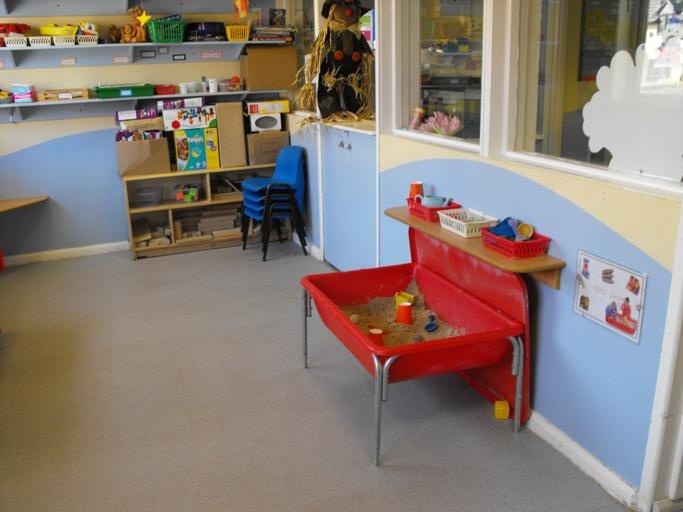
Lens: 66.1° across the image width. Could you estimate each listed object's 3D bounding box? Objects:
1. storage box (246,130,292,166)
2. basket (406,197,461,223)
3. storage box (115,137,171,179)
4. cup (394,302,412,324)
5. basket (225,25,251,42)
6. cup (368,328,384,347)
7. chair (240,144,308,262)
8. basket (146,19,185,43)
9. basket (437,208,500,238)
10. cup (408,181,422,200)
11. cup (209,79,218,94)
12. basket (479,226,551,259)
[{"bbox_3d":[-0.775,-1.121,5.467,0.358,0.386,0.268,-4,15,-21],"label":"storage box"},{"bbox_3d":[0.516,-0.261,3.135,0.150,0.067,0.220,-7,21,-19],"label":"basket"},{"bbox_3d":[-1.954,-0.944,5.105,0.406,0.267,0.416,-5,17,-16],"label":"storage box"},{"bbox_3d":[0.374,0.348,3.168,0.109,0.116,0.108,0,5,0],"label":"cup"},{"bbox_3d":[-1.037,-2.214,5.220,0.157,0.116,0.218,-4,18,-14],"label":"basket"},{"bbox_3d":[0.185,0.446,2.804,0.080,0.093,0.083,0,11,0],"label":"cup"},{"bbox_3d":[-0.681,-0.526,5.252,0.648,1.314,0.884,-3,14,-25],"label":"chair"},{"bbox_3d":[-1.657,-2.131,4.979,0.215,0.171,0.325,-3,19,-16],"label":"basket"},{"bbox_3d":[0.668,-0.184,2.863,0.169,0.075,0.225,-7,25,-20],"label":"basket"},{"bbox_3d":[0.468,-0.408,3.269,0.105,0.107,0.090,-2,5,-22],"label":"cup"},{"bbox_3d":[-1.316,-1.724,5.359,0.117,0.155,0.110,2,8,0],"label":"cup"},{"bbox_3d":[0.827,-0.091,2.563,0.143,0.066,0.209,-7,20,-16],"label":"basket"}]
